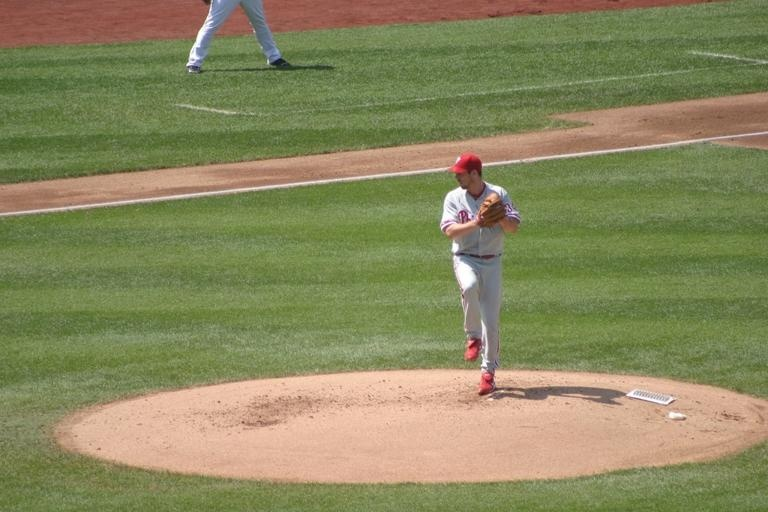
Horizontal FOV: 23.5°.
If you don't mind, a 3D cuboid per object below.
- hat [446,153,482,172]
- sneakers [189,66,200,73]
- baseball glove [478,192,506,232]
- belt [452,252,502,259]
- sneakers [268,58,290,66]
[{"bbox_3d":[1.502,-1.718,33.530,0.574,0.267,0.356,2,11,0],"label":"hat"},{"bbox_3d":[-4.723,-4.793,46.685,0.367,0.194,0.295,-8,13,-25],"label":"sneakers"},{"bbox_3d":[2.040,-0.898,33.258,0.450,0.529,0.491,17,-15,-42],"label":"baseball glove"},{"bbox_3d":[1.715,-0.024,33.587,0.839,0.160,0.165,-1,13,5],"label":"belt"},{"bbox_3d":[-2.639,-5.045,47.361,0.477,0.168,0.210,-2,4,9],"label":"sneakers"}]
